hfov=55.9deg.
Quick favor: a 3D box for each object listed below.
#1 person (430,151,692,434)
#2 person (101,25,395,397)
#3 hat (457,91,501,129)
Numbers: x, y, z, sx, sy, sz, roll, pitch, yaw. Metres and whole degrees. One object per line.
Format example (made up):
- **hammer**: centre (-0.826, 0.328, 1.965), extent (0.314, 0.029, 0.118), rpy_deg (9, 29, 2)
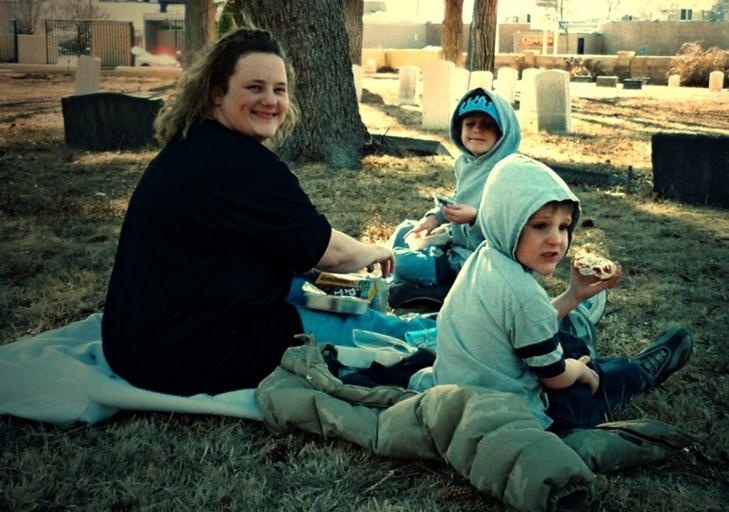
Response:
- **person**: centre (1.086, 0.250, 3.974), extent (1.610, 1.568, 0.837), rpy_deg (0, 4, -8)
- **person**: centre (-0.794, -0.241, 3.862), extent (1.340, 2.040, 0.516), rpy_deg (-5, 13, -22)
- **hat**: centre (0.889, -1.160, 5.371), extent (0.365, 0.276, 0.078), rpy_deg (8, 14, 30)
